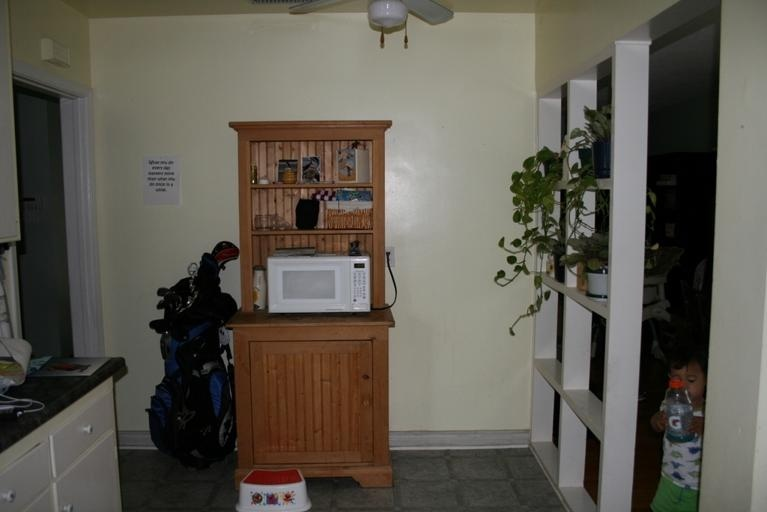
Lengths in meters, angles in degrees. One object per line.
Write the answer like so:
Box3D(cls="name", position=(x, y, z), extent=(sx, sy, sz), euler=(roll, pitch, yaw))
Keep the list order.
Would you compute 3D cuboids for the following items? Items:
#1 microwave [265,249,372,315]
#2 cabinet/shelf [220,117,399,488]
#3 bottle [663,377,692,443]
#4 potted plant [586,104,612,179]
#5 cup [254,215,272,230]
Box3D(cls="microwave", position=(-0.440, 0.199, 4.252), extent=(0.720, 0.433, 0.416), euler=(-1, 5, 7))
Box3D(cls="cabinet/shelf", position=(-0.494, 0.314, 4.213), extent=(1.108, 2.487, 0.632), euler=(-1, 7, 0))
Box3D(cls="bottle", position=(1.745, 0.922, 3.527), extent=(0.196, 0.370, 0.196), euler=(-3, 0, 0))
Box3D(cls="potted plant", position=(1.284, -0.658, 3.550), extent=(0.199, 0.354, 0.208), euler=(-1, 2, 19))
Box3D(cls="cup", position=(-0.906, -0.241, 4.407), extent=(0.105, 0.097, 0.108), euler=(0, 0, 0))
